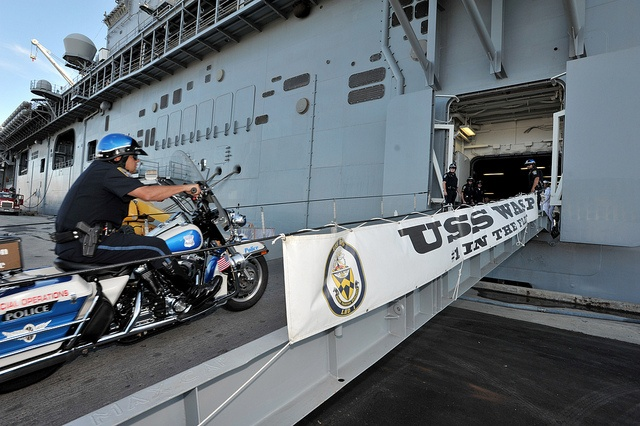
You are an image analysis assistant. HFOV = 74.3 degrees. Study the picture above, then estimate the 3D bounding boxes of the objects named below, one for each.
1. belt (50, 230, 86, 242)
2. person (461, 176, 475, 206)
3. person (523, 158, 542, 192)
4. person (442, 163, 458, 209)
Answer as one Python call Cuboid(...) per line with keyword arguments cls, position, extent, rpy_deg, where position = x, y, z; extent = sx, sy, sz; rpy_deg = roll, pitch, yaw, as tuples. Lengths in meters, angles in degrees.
Cuboid(cls="belt", position=(-3.434, 0.319, 5.772), extent=(0.276, 0.102, 0.229), rpy_deg=(-1, 3, 18))
Cuboid(cls="person", position=(4.126, -0.644, 11.863), extent=(0.331, 0.732, 1.176), rpy_deg=(-1, 3, 20))
Cuboid(cls="person", position=(5.781, -1.030, 11.485), extent=(0.384, 0.886, 1.417), rpy_deg=(0, 3, 26))
Cuboid(cls="person", position=(3.217, -0.729, 10.531), extent=(0.334, 1.015, 0.474), rpy_deg=(-1, 4, 15))
